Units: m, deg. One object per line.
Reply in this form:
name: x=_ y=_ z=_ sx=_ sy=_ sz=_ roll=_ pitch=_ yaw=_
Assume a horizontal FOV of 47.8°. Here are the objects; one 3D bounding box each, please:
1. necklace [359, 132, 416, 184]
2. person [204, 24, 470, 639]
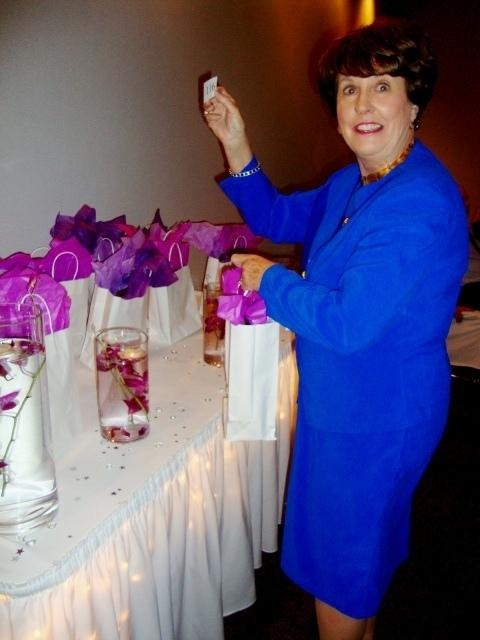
necklace: x=0.259 y=-0.284 z=0.965 sx=0.097 sy=0.078 sz=0.072 roll=0 pitch=18 yaw=21
person: x=0.186 y=0.034 z=1.112 sx=0.355 sy=1.103 sz=0.566 roll=-12 pitch=17 yaw=-19
